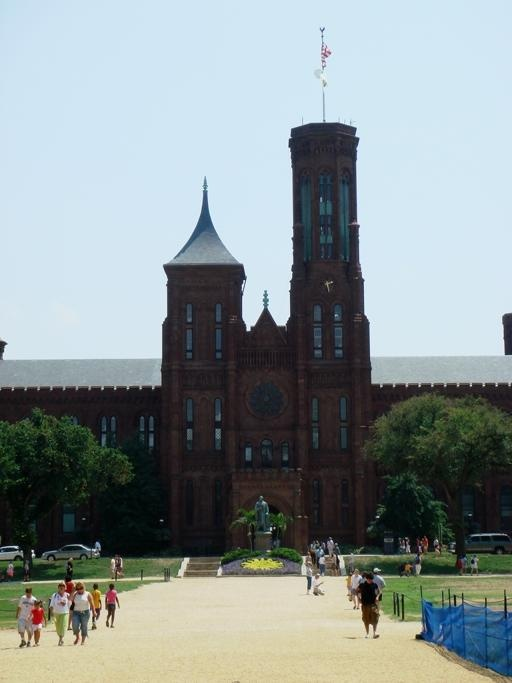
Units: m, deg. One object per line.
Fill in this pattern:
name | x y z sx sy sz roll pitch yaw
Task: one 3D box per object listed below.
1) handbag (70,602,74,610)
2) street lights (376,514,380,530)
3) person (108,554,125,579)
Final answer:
handbag | -5.189 7.445 36.601 0.078 0.270 0.532 1 -13 -12
street lights | 7.425 10.914 78.312 0.211 0.735 0.707 -1 -12 -6
person | -6.961 11.380 65.089 0.623 0.900 1.354 0 -24 -3
